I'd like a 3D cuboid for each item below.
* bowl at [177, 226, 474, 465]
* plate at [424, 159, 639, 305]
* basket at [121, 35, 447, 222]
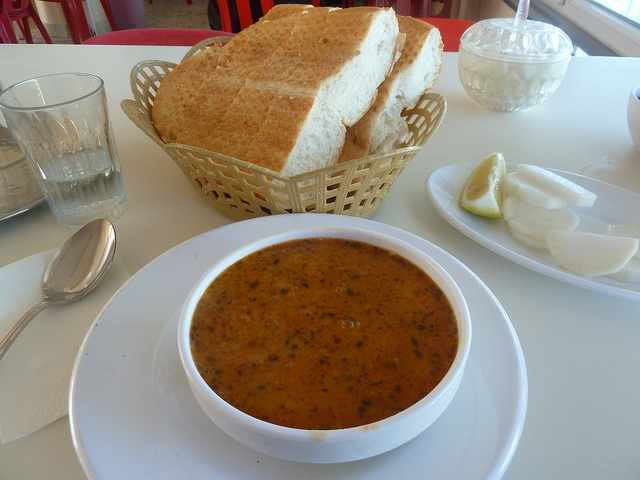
[{"bbox_3d":[0.007,0.120,0.670,0.400,0.084,0.358,2,42,1],"label":"bowl"},{"bbox_3d":[0.433,0.011,0.949,0.327,0.052,0.270,13,41,1],"label":"plate"},{"bbox_3d":[-0.136,-0.324,0.838,0.480,0.181,0.493,-29,51,-31],"label":"basket"}]
